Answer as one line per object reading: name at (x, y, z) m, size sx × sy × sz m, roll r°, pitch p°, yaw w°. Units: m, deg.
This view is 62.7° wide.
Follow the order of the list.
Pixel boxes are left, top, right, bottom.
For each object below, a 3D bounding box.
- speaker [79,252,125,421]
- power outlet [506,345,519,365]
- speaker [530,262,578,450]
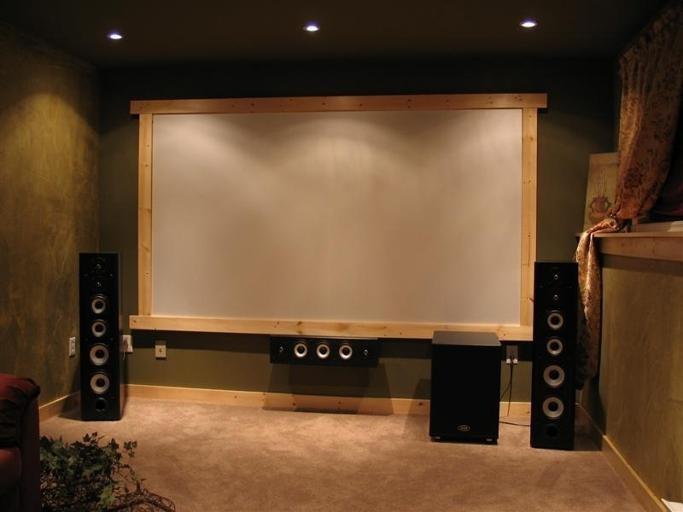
speaker at (-1.871, 0.628, 4.346) m, size 0.336 × 1.274 × 0.280 m, roll -3°, pitch 11°, yaw -16°
power outlet at (1.361, 0.782, 4.486) m, size 0.092 × 0.146 × 0.037 m, roll 2°, pitch 11°, yaw 8°
speaker at (1.497, 0.701, 3.961) m, size 0.293 × 1.301 × 0.237 m, roll 1°, pitch 11°, yaw 7°
